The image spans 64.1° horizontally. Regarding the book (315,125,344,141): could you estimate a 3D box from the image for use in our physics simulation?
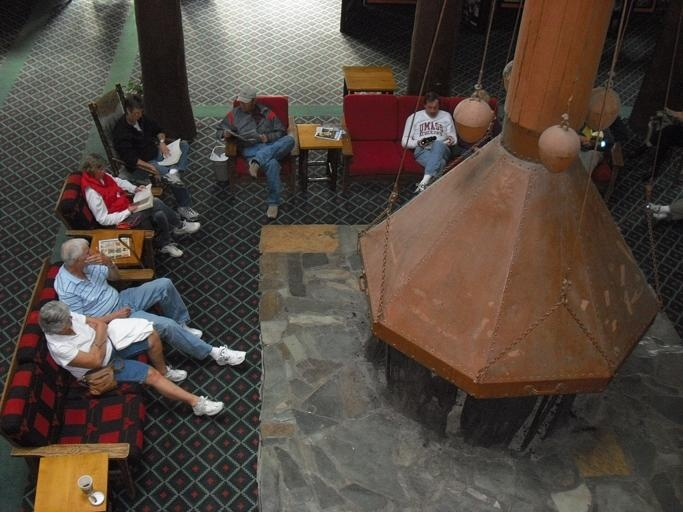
[{"bbox_3d":[-0.168,-1.842,8.071,0.313,0.071,0.302,8,40,6],"label":"book"}]

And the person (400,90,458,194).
[{"bbox_3d":[1.314,-1.743,7.980,0.896,1.153,1.892,0,47,3],"label":"person"}]

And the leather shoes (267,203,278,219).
[{"bbox_3d":[-0.993,-0.672,7.874,0.097,0.110,0.249,4,44,1],"label":"leather shoes"}]

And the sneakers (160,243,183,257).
[{"bbox_3d":[-2.271,-0.119,7.356,0.300,0.126,0.144,13,40,11],"label":"sneakers"}]

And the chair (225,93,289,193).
[{"bbox_3d":[-1.086,-1.704,8.205,1.137,1.390,1.164,-1,59,-4],"label":"chair"}]

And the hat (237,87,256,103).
[{"bbox_3d":[-1.334,-2.267,7.694,0.257,0.213,0.217,-11,44,-10],"label":"hat"}]

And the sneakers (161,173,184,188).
[{"bbox_3d":[-2.334,-1.055,7.481,0.323,0.225,0.110,22,81,2],"label":"sneakers"}]

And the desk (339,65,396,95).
[{"bbox_3d":[0.476,-2.925,9.315,0.833,0.452,0.921,-2,42,-1],"label":"desk"}]

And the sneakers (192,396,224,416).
[{"bbox_3d":[-1.426,1.605,5.850,0.332,0.209,0.174,-3,53,2],"label":"sneakers"}]

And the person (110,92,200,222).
[{"bbox_3d":[-2.646,-1.380,7.604,1.313,1.619,1.023,17,57,-2],"label":"person"}]

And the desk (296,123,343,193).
[{"bbox_3d":[-0.366,-1.445,8.363,0.944,1.003,0.991,1,58,-3],"label":"desk"}]

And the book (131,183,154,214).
[{"bbox_3d":[-2.490,-0.759,6.867,0.301,0.129,0.377,-7,44,26],"label":"book"}]

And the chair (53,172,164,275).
[{"bbox_3d":[-2.788,-0.375,6.570,0.880,1.125,0.849,2,59,-8],"label":"chair"}]

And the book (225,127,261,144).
[{"bbox_3d":[-1.383,-1.701,7.697,0.355,0.103,0.245,22,75,17],"label":"book"}]

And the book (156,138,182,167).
[{"bbox_3d":[-2.407,-1.493,7.693,0.279,0.119,0.397,26,66,9],"label":"book"}]

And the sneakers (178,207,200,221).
[{"bbox_3d":[-2.155,-0.606,7.703,0.309,0.130,0.139,6,66,-13],"label":"sneakers"}]

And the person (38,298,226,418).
[{"bbox_3d":[-2.068,0.999,5.667,1.779,1.162,0.765,10,36,-1],"label":"person"}]

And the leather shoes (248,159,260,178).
[{"bbox_3d":[-1.250,-1.240,7.738,0.169,0.298,0.182,1,43,3],"label":"leather shoes"}]

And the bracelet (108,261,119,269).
[{"bbox_3d":[-2.594,0.087,6.173,0.029,0.079,0.061,-51,43,0],"label":"bracelet"}]

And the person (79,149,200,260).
[{"bbox_3d":[-2.580,-0.780,6.983,1.540,1.410,0.788,-1,59,-10],"label":"person"}]

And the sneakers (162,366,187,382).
[{"bbox_3d":[-1.870,1.307,6.110,0.265,0.119,0.119,-1,50,-14],"label":"sneakers"}]

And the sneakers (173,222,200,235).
[{"bbox_3d":[-2.140,-0.406,7.575,0.361,0.165,0.152,-8,61,-6],"label":"sneakers"}]

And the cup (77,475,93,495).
[{"bbox_3d":[-2.214,1.975,4.789,0.114,0.167,0.167,1,52,-9],"label":"cup"}]

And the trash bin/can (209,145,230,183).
[{"bbox_3d":[-1.829,-1.386,8.211,0.320,0.473,0.419,0,46,-3],"label":"trash bin/can"}]
